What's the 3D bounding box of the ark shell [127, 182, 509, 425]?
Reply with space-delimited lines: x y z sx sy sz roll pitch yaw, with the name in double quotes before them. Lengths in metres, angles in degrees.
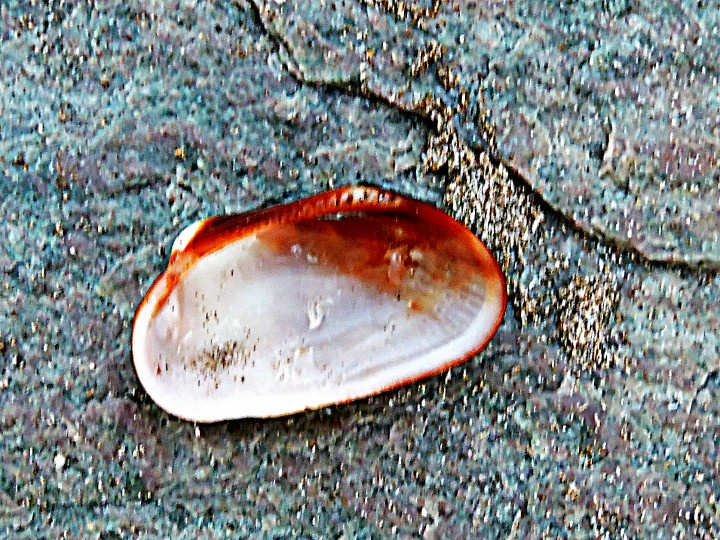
"ark shell" -0.104 0.041 2.574 0.710 0.133 0.470 -18 102 2
